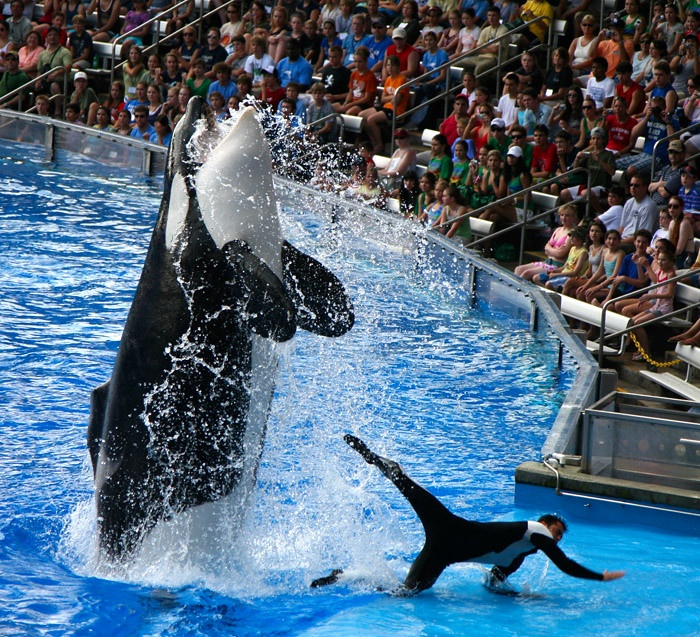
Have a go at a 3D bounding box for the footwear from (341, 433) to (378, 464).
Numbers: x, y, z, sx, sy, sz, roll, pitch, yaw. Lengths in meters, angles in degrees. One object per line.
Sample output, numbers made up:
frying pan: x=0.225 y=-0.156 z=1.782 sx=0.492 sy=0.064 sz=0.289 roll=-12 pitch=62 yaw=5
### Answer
footwear: x=0.049 y=0.783 z=8.616 sx=0.309 sy=0.100 sz=0.080 roll=40 pitch=20 yaw=-26

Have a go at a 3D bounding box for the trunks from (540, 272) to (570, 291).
trunks: x=1.922 y=-0.356 z=13.411 sx=0.167 sy=0.175 sz=0.067 roll=12 pitch=46 yaw=34

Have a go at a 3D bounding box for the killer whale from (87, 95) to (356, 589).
killer whale: x=-0.842 y=0.192 z=8.620 sx=0.857 sy=2.676 sz=1.543 roll=12 pitch=-2 yaw=10

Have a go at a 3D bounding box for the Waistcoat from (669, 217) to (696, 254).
Waistcoat: x=2.932 y=-0.729 z=12.639 sx=0.249 sy=0.290 sz=0.195 roll=9 pitch=4 yaw=12

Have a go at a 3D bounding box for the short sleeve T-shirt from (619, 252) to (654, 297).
short sleeve T-shirt: x=2.499 y=-0.438 z=12.622 sx=0.272 sy=0.195 sz=0.354 roll=11 pitch=-25 yaw=5

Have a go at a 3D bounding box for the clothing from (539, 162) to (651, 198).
clothing: x=2.368 y=-1.440 z=14.452 sx=0.916 sy=0.306 sz=0.303 roll=-9 pitch=20 yaw=47

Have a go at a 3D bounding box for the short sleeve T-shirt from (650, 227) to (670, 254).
short sleeve T-shirt: x=2.737 y=-0.681 z=12.615 sx=0.148 sy=0.279 sz=0.243 roll=14 pitch=5 yaw=6

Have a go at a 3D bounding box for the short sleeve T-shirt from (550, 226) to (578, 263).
short sleeve T-shirt: x=2.035 y=-0.693 z=13.542 sx=0.187 sy=0.340 sz=0.274 roll=12 pitch=10 yaw=-14

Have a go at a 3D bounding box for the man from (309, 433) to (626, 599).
man: x=0.648 y=1.325 z=8.885 sx=1.759 sy=0.997 sz=0.734 roll=7 pitch=-2 yaw=-18

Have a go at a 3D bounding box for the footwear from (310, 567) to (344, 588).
footwear: x=-0.146 y=1.621 z=8.965 sx=0.250 sy=0.100 sz=0.079 roll=-15 pitch=10 yaw=-35

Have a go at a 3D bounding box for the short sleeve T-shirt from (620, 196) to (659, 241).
short sleeve T-shirt: x=2.674 y=-0.901 z=13.408 sx=0.244 sy=0.447 sz=0.387 roll=4 pitch=9 yaw=-31

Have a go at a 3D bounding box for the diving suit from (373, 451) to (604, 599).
diving suit: x=0.806 y=1.371 z=8.837 sx=1.317 sy=0.558 sz=0.729 roll=25 pitch=-24 yaw=-18
